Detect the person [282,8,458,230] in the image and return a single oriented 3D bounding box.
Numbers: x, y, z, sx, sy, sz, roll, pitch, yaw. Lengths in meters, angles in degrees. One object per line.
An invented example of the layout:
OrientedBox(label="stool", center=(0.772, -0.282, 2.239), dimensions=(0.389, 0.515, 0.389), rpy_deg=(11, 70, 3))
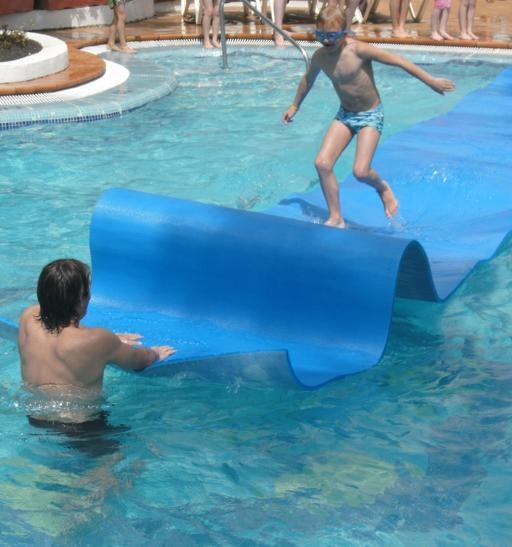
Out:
OrientedBox(label="person", center=(0.721, -0.990, 3.999), dimensions=(0.850, 1.321, 0.833), rpy_deg=(-5, 19, -8))

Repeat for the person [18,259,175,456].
OrientedBox(label="person", center=(-0.712, 0.281, 2.386), dimensions=(0.399, 0.682, 0.459), rpy_deg=(2, 19, 11))

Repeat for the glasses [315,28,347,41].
OrientedBox(label="glasses", center=(0.443, -1.411, 3.705), dimensions=(0.184, 0.072, 0.149), rpy_deg=(3, 16, 15))

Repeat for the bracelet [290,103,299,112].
OrientedBox(label="bracelet", center=(0.265, -1.164, 4.382), dimensions=(0.076, 0.051, 0.033), rpy_deg=(0, 5, -40))
